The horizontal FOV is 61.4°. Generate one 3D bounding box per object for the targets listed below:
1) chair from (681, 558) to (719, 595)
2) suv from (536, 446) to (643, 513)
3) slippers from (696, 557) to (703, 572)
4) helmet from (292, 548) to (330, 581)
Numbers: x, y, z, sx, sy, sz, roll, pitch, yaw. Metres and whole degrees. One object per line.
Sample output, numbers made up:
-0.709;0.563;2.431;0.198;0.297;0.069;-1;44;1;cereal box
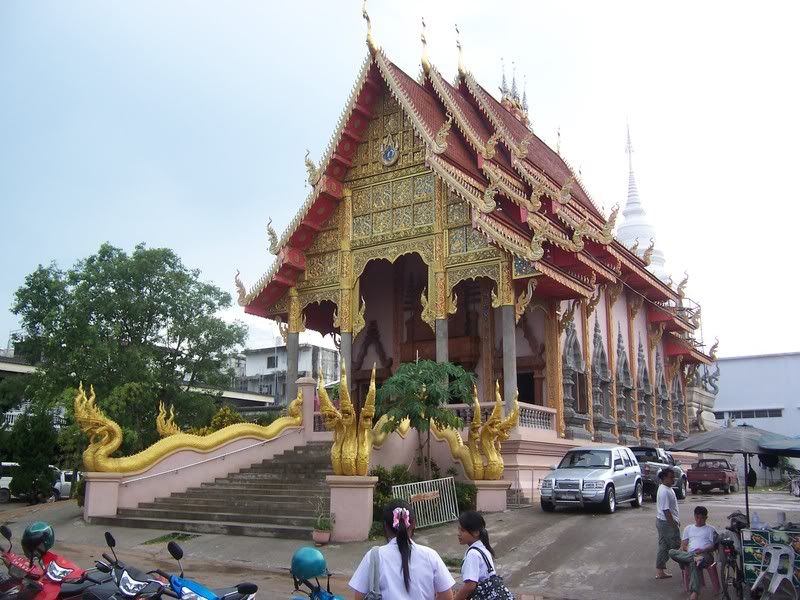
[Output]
4.062;3.717;9.153;0.443;0.512;0.741;-7;-16;23;chair
4.872;4.398;16.791;1.422;1.255;2.575;-11;-23;30;suv
3.985;3.485;8.997;0.108;0.142;0.051;8;-16;-32;slippers
-0.657;1.905;4.872;0.229;0.231;0.273;1;-14;-8;helmet
